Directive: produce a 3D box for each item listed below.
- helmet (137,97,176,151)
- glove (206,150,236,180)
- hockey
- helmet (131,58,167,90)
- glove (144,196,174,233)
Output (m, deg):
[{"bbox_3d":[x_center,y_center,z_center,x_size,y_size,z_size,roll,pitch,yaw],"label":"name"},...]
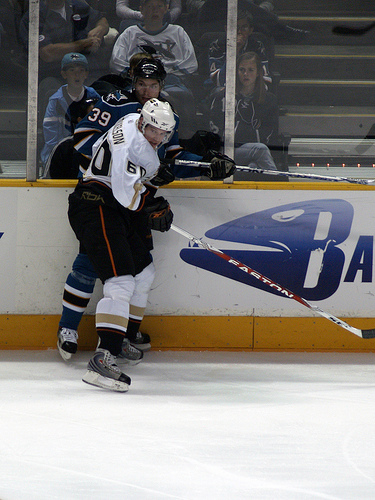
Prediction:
[{"bbox_3d":[-0.157,-0.617,2.816,0.144,0.228,0.193,-2,8,-22],"label":"helmet"},{"bbox_3d":[0.185,-0.478,3.233,0.167,0.160,0.187,1,7,-1],"label":"glove"},{"bbox_3d":[0.507,0.153,3.380,1.405,0.203,0.095,22,53,4],"label":"hockey"},{"bbox_3d":[-0.213,-0.958,3.114,0.146,0.133,0.150,10,21,-7],"label":"helmet"},{"bbox_3d":[-0.171,-0.171,3.102,0.155,0.212,0.177,3,14,-15],"label":"glove"}]
